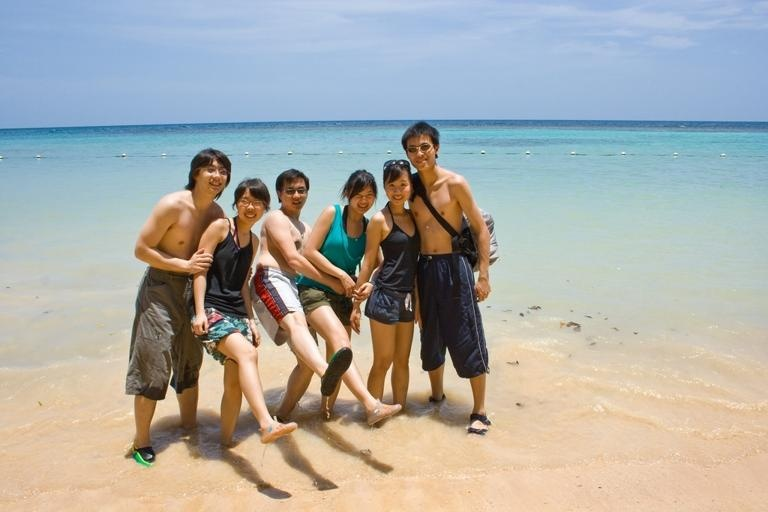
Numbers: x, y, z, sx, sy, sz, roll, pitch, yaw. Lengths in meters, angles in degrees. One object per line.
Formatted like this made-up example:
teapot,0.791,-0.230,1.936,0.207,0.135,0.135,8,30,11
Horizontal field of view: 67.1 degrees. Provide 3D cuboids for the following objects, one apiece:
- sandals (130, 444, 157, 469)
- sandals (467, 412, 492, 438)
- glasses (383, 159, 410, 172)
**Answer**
sandals,-2.597,2.115,6.153,0.344,0.156,0.182,0,10,10
sandals,1.075,1.941,6.620,0.246,0.151,0.594,2,5,8
glasses,0.139,-1.023,6.462,0.203,0.055,0.193,1,-16,0
